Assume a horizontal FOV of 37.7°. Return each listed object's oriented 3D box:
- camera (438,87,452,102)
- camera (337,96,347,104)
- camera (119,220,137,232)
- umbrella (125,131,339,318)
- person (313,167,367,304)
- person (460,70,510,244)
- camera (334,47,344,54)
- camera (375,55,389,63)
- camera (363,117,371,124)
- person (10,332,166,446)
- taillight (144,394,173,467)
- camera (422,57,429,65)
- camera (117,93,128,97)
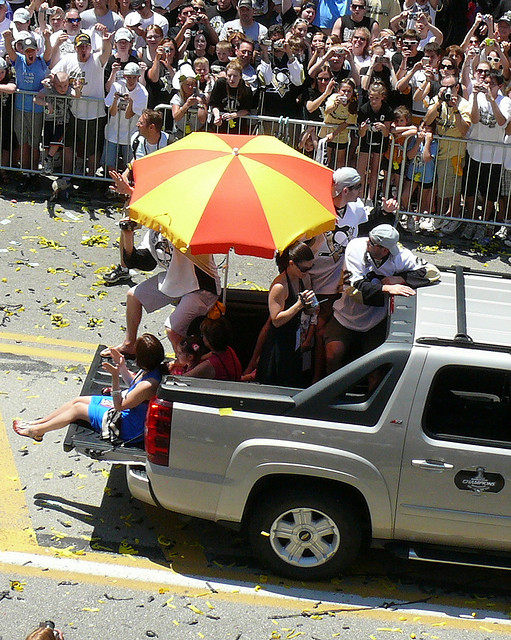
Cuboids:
[{"bbox_3d":[2.627,-3.109,10.302,0.164,0.180,0.082,0,19,14],"label":"camera"},{"bbox_3d":[1.219,-3.061,10.393,0.114,0.073,0.091,-3,13,6],"label":"camera"},{"bbox_3d":[-1.220,-0.912,7.183,0.176,0.080,0.209,-4,1,6],"label":"camera"},{"bbox_3d":[-0.210,-0.756,6.392,1.746,1.619,1.511,-8,50,-13],"label":"umbrella"},{"bbox_3d":[0.696,-0.682,6.314,0.433,0.618,1.188,16,-32,13],"label":"person"},{"bbox_3d":[3.249,-2.292,10.620,0.576,2.384,1.097,6,6,13],"label":"person"},{"bbox_3d":[1.203,-3.856,10.706,0.125,0.080,0.124,4,6,0],"label":"camera"},{"bbox_3d":[1.818,-3.719,10.687,0.189,0.105,0.100,1,11,4],"label":"camera"},{"bbox_3d":[1.571,-2.784,10.462,0.078,0.093,0.093,7,7,26],"label":"camera"},{"bbox_3d":[-1.196,0.546,5.444,1.189,0.675,0.465,-1,2,3],"label":"person"},{"bbox_3d":[-0.602,0.691,4.628,0.091,0.431,0.202,-1,8,-42],"label":"taillight"},{"bbox_3d":[2.584,-3.941,11.352,0.093,0.126,0.173,5,6,13],"label":"camera"},{"bbox_3d":[-1.900,-3.212,10.682,0.072,0.022,0.094,4,-2,11],"label":"camera"}]
